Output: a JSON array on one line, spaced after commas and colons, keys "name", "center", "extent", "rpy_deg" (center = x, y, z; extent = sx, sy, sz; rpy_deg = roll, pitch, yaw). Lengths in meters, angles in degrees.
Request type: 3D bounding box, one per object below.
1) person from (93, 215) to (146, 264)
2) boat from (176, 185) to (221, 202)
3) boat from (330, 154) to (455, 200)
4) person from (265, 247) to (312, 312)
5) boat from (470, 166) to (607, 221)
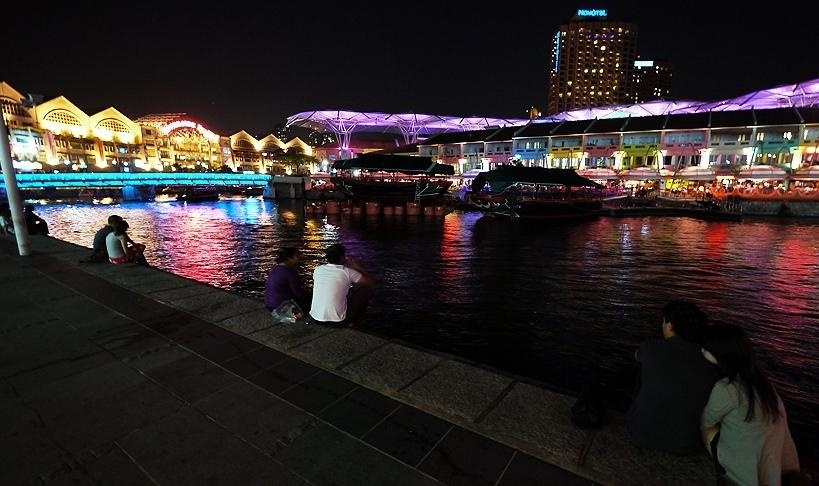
[{"name": "person", "center": [-8.144, -0.095, 11.622], "extent": [1.365, 1.380, 0.699], "rpy_deg": [3, 15, 17]}, {"name": "boat", "center": [-35.330, -8.453, 69.709], "extent": [8.056, 2.578, 7.409], "rpy_deg": [-2, 4, -35]}, {"name": "boat", "center": [-1.653, -6.640, 42.712], "extent": [11.481, 5.027, 4.451], "rpy_deg": [-1, 13, -1]}, {"name": "person", "center": [-2.483, 0.775, 8.381], "extent": [0.900, 1.291, 0.630], "rpy_deg": [-5, 15, -14]}, {"name": "boat", "center": [11.876, -3.987, 35.406], "extent": [11.233, 3.191, 5.021], "rpy_deg": [-2, 18, -17]}]
